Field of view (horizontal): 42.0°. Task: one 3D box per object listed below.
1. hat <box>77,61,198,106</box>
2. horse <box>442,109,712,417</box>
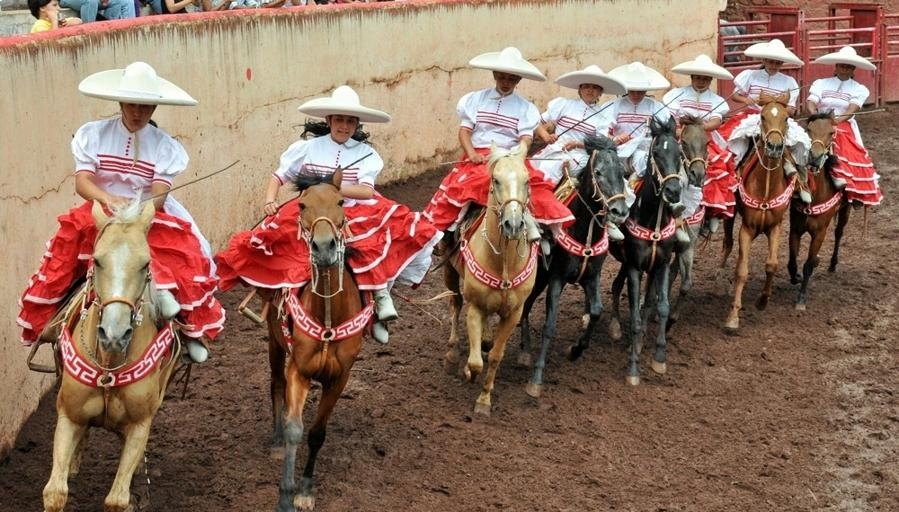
[{"bbox_3d":[-4.222,-2.281,15.831,1.010,0.337,0.853,-3,21,-28],"label":"hat"},{"bbox_3d":[2.009,-0.153,18.775,4.495,3.925,2.776,-9,26,-14],"label":"horse"}]
